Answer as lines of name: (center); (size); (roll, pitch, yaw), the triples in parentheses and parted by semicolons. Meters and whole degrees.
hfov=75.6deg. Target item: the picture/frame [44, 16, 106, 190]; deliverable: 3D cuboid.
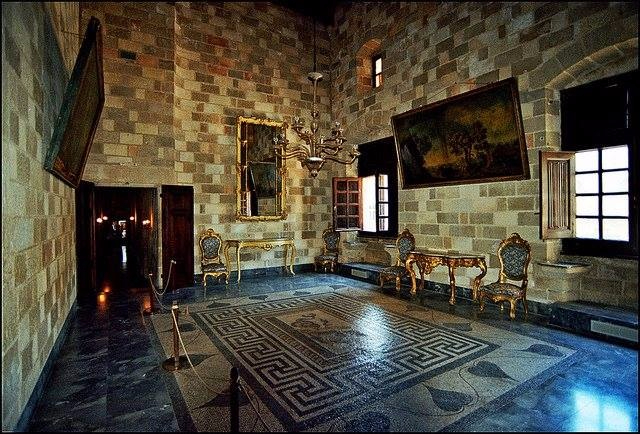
picture/frame: (-3.412, -1.497, 5.760); (0.719, 2.097, 1.545); (-3, 5, -27)

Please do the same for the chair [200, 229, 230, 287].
chair: (-2.433, 0.901, 9.506); (0.667, 1.233, 1.057); (-2, 5, -16)

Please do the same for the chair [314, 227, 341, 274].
chair: (0.205, 0.849, 10.830); (0.678, 1.133, 0.699); (-6, 8, -35)

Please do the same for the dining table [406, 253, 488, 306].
dining table: (2.418, 1.091, 8.313); (1.392, 0.897, 0.730); (0, 11, 15)

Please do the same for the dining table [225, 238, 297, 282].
dining table: (-1.395, 0.998, 10.117); (1.849, 0.955, 1.110); (-2, 5, -19)

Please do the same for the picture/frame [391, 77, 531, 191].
picture/frame: (2.783, -1.595, 7.889); (0.279, 1.499, 2.390); (-16, 3, -37)

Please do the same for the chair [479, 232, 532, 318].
chair: (3.324, 0.992, 7.317); (0.895, 1.407, 0.695); (-4, 6, -38)
